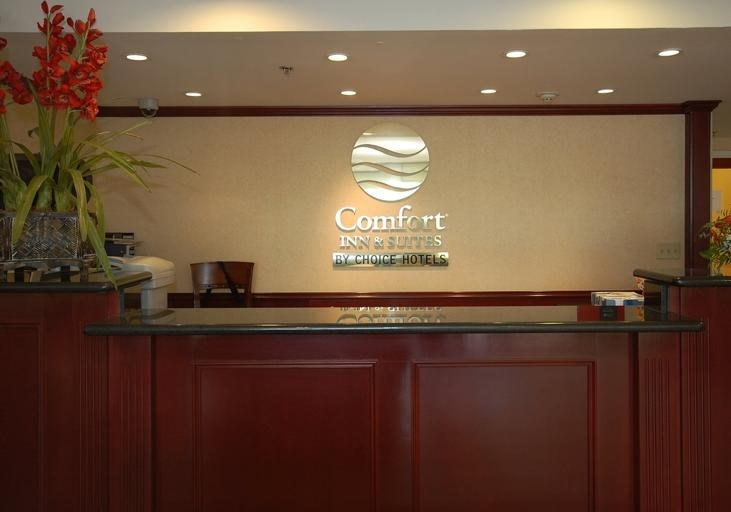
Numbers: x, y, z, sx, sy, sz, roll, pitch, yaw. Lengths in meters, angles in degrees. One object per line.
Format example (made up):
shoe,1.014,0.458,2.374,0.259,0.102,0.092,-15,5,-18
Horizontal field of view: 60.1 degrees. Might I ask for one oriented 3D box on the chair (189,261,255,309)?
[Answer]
chair,-1.200,0.245,5.733,0.521,0.598,0.443,1,1,-4
